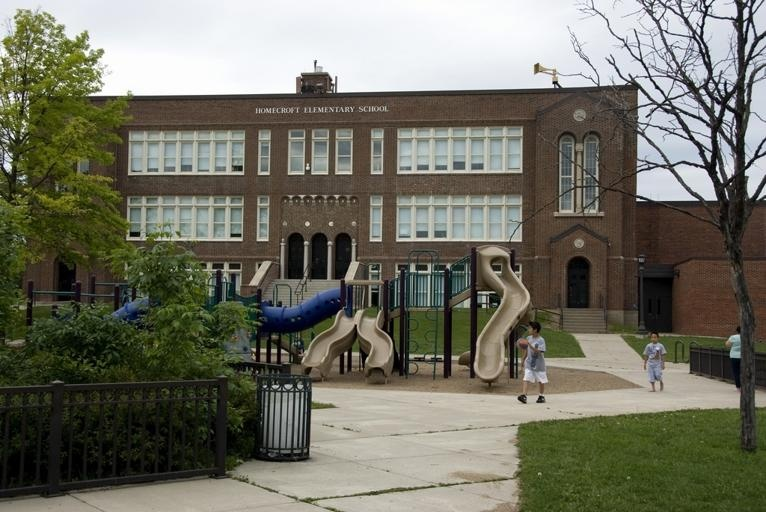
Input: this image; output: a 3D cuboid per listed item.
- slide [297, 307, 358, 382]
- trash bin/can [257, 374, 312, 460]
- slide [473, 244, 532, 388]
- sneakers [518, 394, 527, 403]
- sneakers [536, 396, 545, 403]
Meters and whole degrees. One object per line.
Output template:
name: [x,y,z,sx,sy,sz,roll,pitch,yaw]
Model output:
slide: [-1.758,2.946,30.206,1.020,0.837,3.155,3,30,19]
trash bin/can: [-1.886,3.065,17.225,1.020,1.616,0.465,0,-8,-8]
slide: [3.901,2.144,30.146,1.559,5.159,1.883,1,-40,15]
sneakers: [3.776,3.837,24.281,0.222,0.236,0.346,-2,-8,7]
sneakers: [4.253,3.848,24.224,0.240,0.158,0.343,-2,-8,10]
